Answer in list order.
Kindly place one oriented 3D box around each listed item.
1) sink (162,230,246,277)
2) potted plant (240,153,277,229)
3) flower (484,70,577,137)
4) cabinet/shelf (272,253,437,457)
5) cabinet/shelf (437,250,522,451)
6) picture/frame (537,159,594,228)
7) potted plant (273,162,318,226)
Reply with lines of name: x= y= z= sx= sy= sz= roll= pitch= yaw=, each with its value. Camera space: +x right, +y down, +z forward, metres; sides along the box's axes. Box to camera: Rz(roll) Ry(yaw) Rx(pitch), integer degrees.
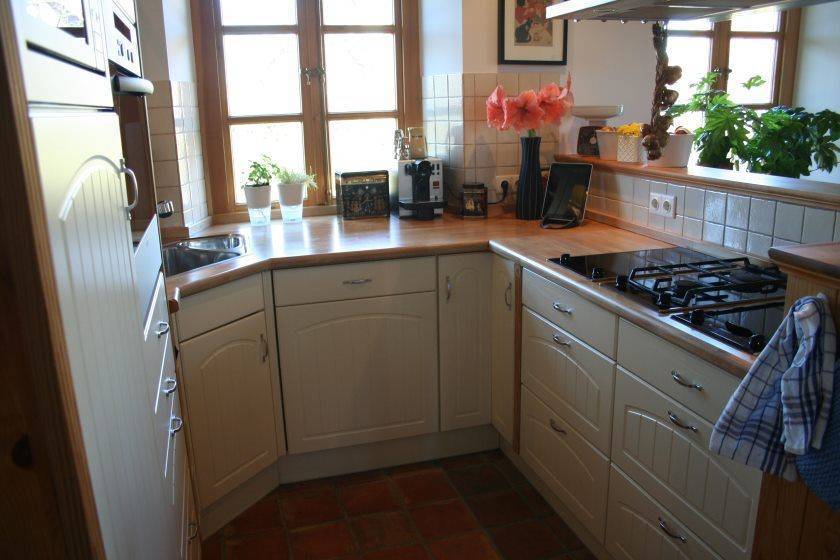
sink: x=-1.025 y=-0.132 z=2.818 sx=0.300 sy=0.110 sz=0.227 roll=-19 pitch=29 yaw=-38
potted plant: x=-0.897 y=-0.506 z=3.353 sx=0.183 sy=0.360 sz=0.362 roll=-9 pitch=18 yaw=-13
flower: x=0.571 y=-0.914 z=3.121 sx=0.437 sy=0.234 sz=0.135 roll=-1 pitch=17 yaw=12
cabinet/shelf: x=-0.286 y=0.290 z=3.184 sx=0.912 sy=1.250 sz=0.819 roll=-4 pitch=12 yaw=-15
cabinet/shelf: x=0.296 y=0.306 z=2.836 sx=0.388 sy=0.859 sz=0.261 roll=4 pitch=19 yaw=27
picture/frame: x=0.765 y=-0.437 z=3.108 sx=0.325 sy=0.457 sz=0.152 roll=7 pitch=2 yaw=35
potted plant: x=-0.708 y=-0.499 z=3.398 sx=0.295 sy=0.338 sz=0.274 roll=1 pitch=8 yaw=-7
